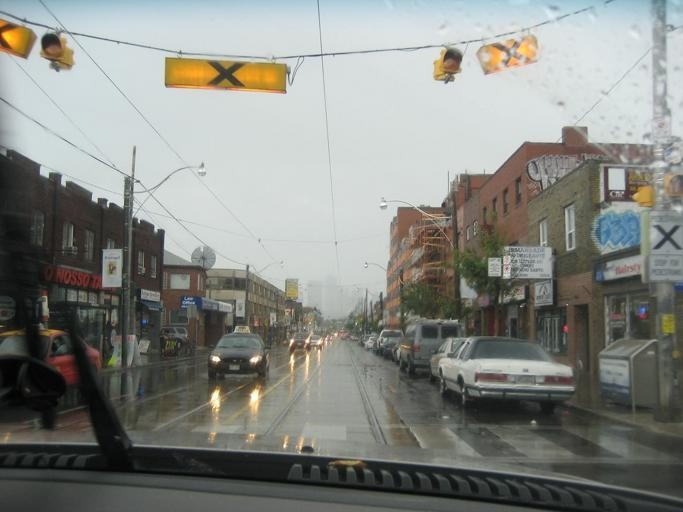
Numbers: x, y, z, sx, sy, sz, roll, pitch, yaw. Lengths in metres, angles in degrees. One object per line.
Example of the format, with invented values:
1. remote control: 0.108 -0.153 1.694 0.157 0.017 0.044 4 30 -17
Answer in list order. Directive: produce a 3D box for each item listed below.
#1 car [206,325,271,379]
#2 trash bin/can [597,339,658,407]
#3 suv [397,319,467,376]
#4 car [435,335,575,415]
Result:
1. car: -3.044 3.047 22.603 1.561 1.562 4.010 2 -9 -5
2. trash bin/can: 5.639 2.282 15.004 0.658 1.278 1.192 2 -3 -10
3. suv: 2.767 3.100 24.795 1.820 1.899 2.518 3 -8 -3
4. car: 3.148 2.218 14.594 1.836 1.680 3.724 4 -8 0
